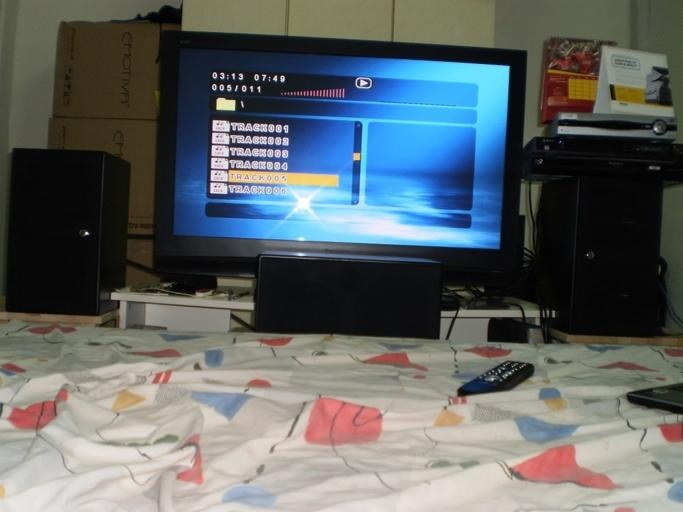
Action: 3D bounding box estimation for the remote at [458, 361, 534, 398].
[{"bbox_3d":[0.348,0.272,1.314,0.087,0.070,0.263,5,3,37],"label":"remote"}]
